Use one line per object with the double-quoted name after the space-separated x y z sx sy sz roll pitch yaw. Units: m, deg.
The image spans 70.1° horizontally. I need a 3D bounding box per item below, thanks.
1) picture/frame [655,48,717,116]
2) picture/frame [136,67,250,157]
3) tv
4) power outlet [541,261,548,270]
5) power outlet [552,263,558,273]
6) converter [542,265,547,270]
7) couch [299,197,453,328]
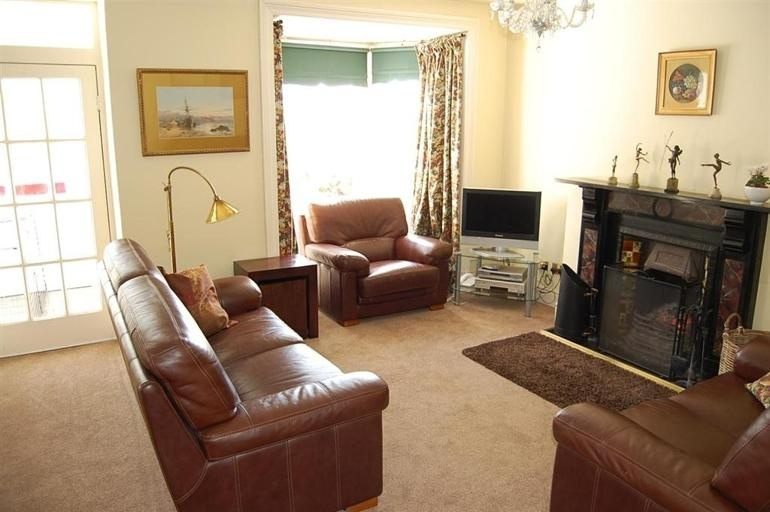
2.688 -1.548 4.863 0.051 0.689 0.601 -11 15 -35 "picture/frame"
-1.865 -1.382 5.181 0.894 0.680 0.038 -5 12 -29 "picture/frame"
1.271 -0.419 6.109 0.853 0.633 0.191 6 17 23 "tv"
1.841 0.118 6.357 0.060 0.099 0.036 3 -3 45 "power outlet"
1.935 0.144 6.252 0.036 0.113 0.103 -11 18 -33 "power outlet"
1.844 0.135 6.355 0.057 0.058 0.013 4 7 42 "converter"
-0.113 -0.008 6.237 1.418 1.115 1.265 -7 15 -25 "couch"
